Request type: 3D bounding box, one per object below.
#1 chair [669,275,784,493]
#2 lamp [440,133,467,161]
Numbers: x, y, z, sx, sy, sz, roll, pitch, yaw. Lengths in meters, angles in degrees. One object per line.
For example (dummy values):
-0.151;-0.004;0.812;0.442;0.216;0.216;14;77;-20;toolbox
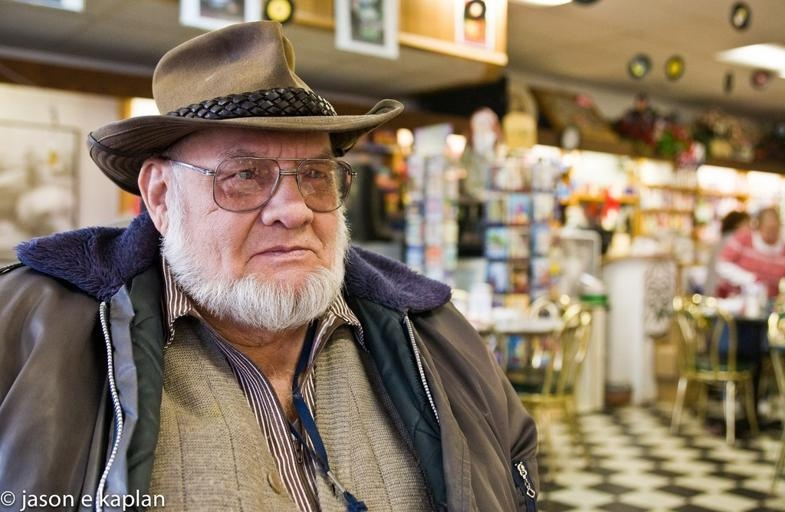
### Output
1.967;0.581;5.101;0.668;0.738;2.581;-3;-5;17;chair
0.620;-1.078;8.658;0.285;0.305;0.302;-2;22;3;lamp
